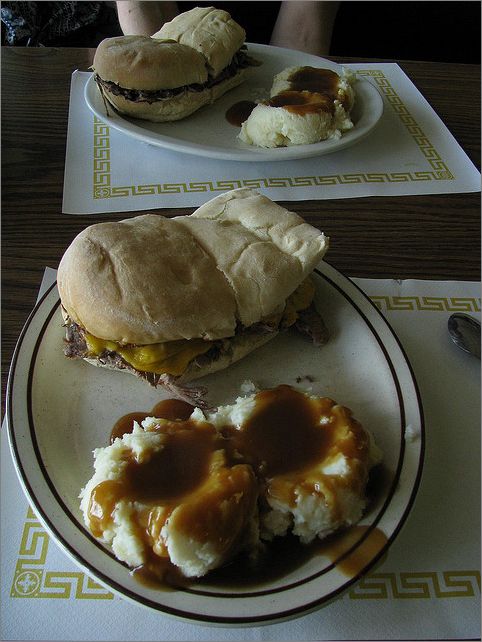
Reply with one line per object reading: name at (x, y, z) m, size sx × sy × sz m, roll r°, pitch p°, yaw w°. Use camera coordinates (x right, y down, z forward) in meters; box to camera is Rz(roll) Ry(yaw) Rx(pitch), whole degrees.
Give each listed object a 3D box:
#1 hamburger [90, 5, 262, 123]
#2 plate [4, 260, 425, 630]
hamburger at (-0.228, -0.846, 2.083) m, size 0.392 × 0.199 × 0.563 m, roll 35°, pitch 50°, yaw 14°
plate at (-0.033, 0.211, 1.180) m, size 0.844 × 0.150 × 0.739 m, roll -7°, pitch 54°, yaw -3°
